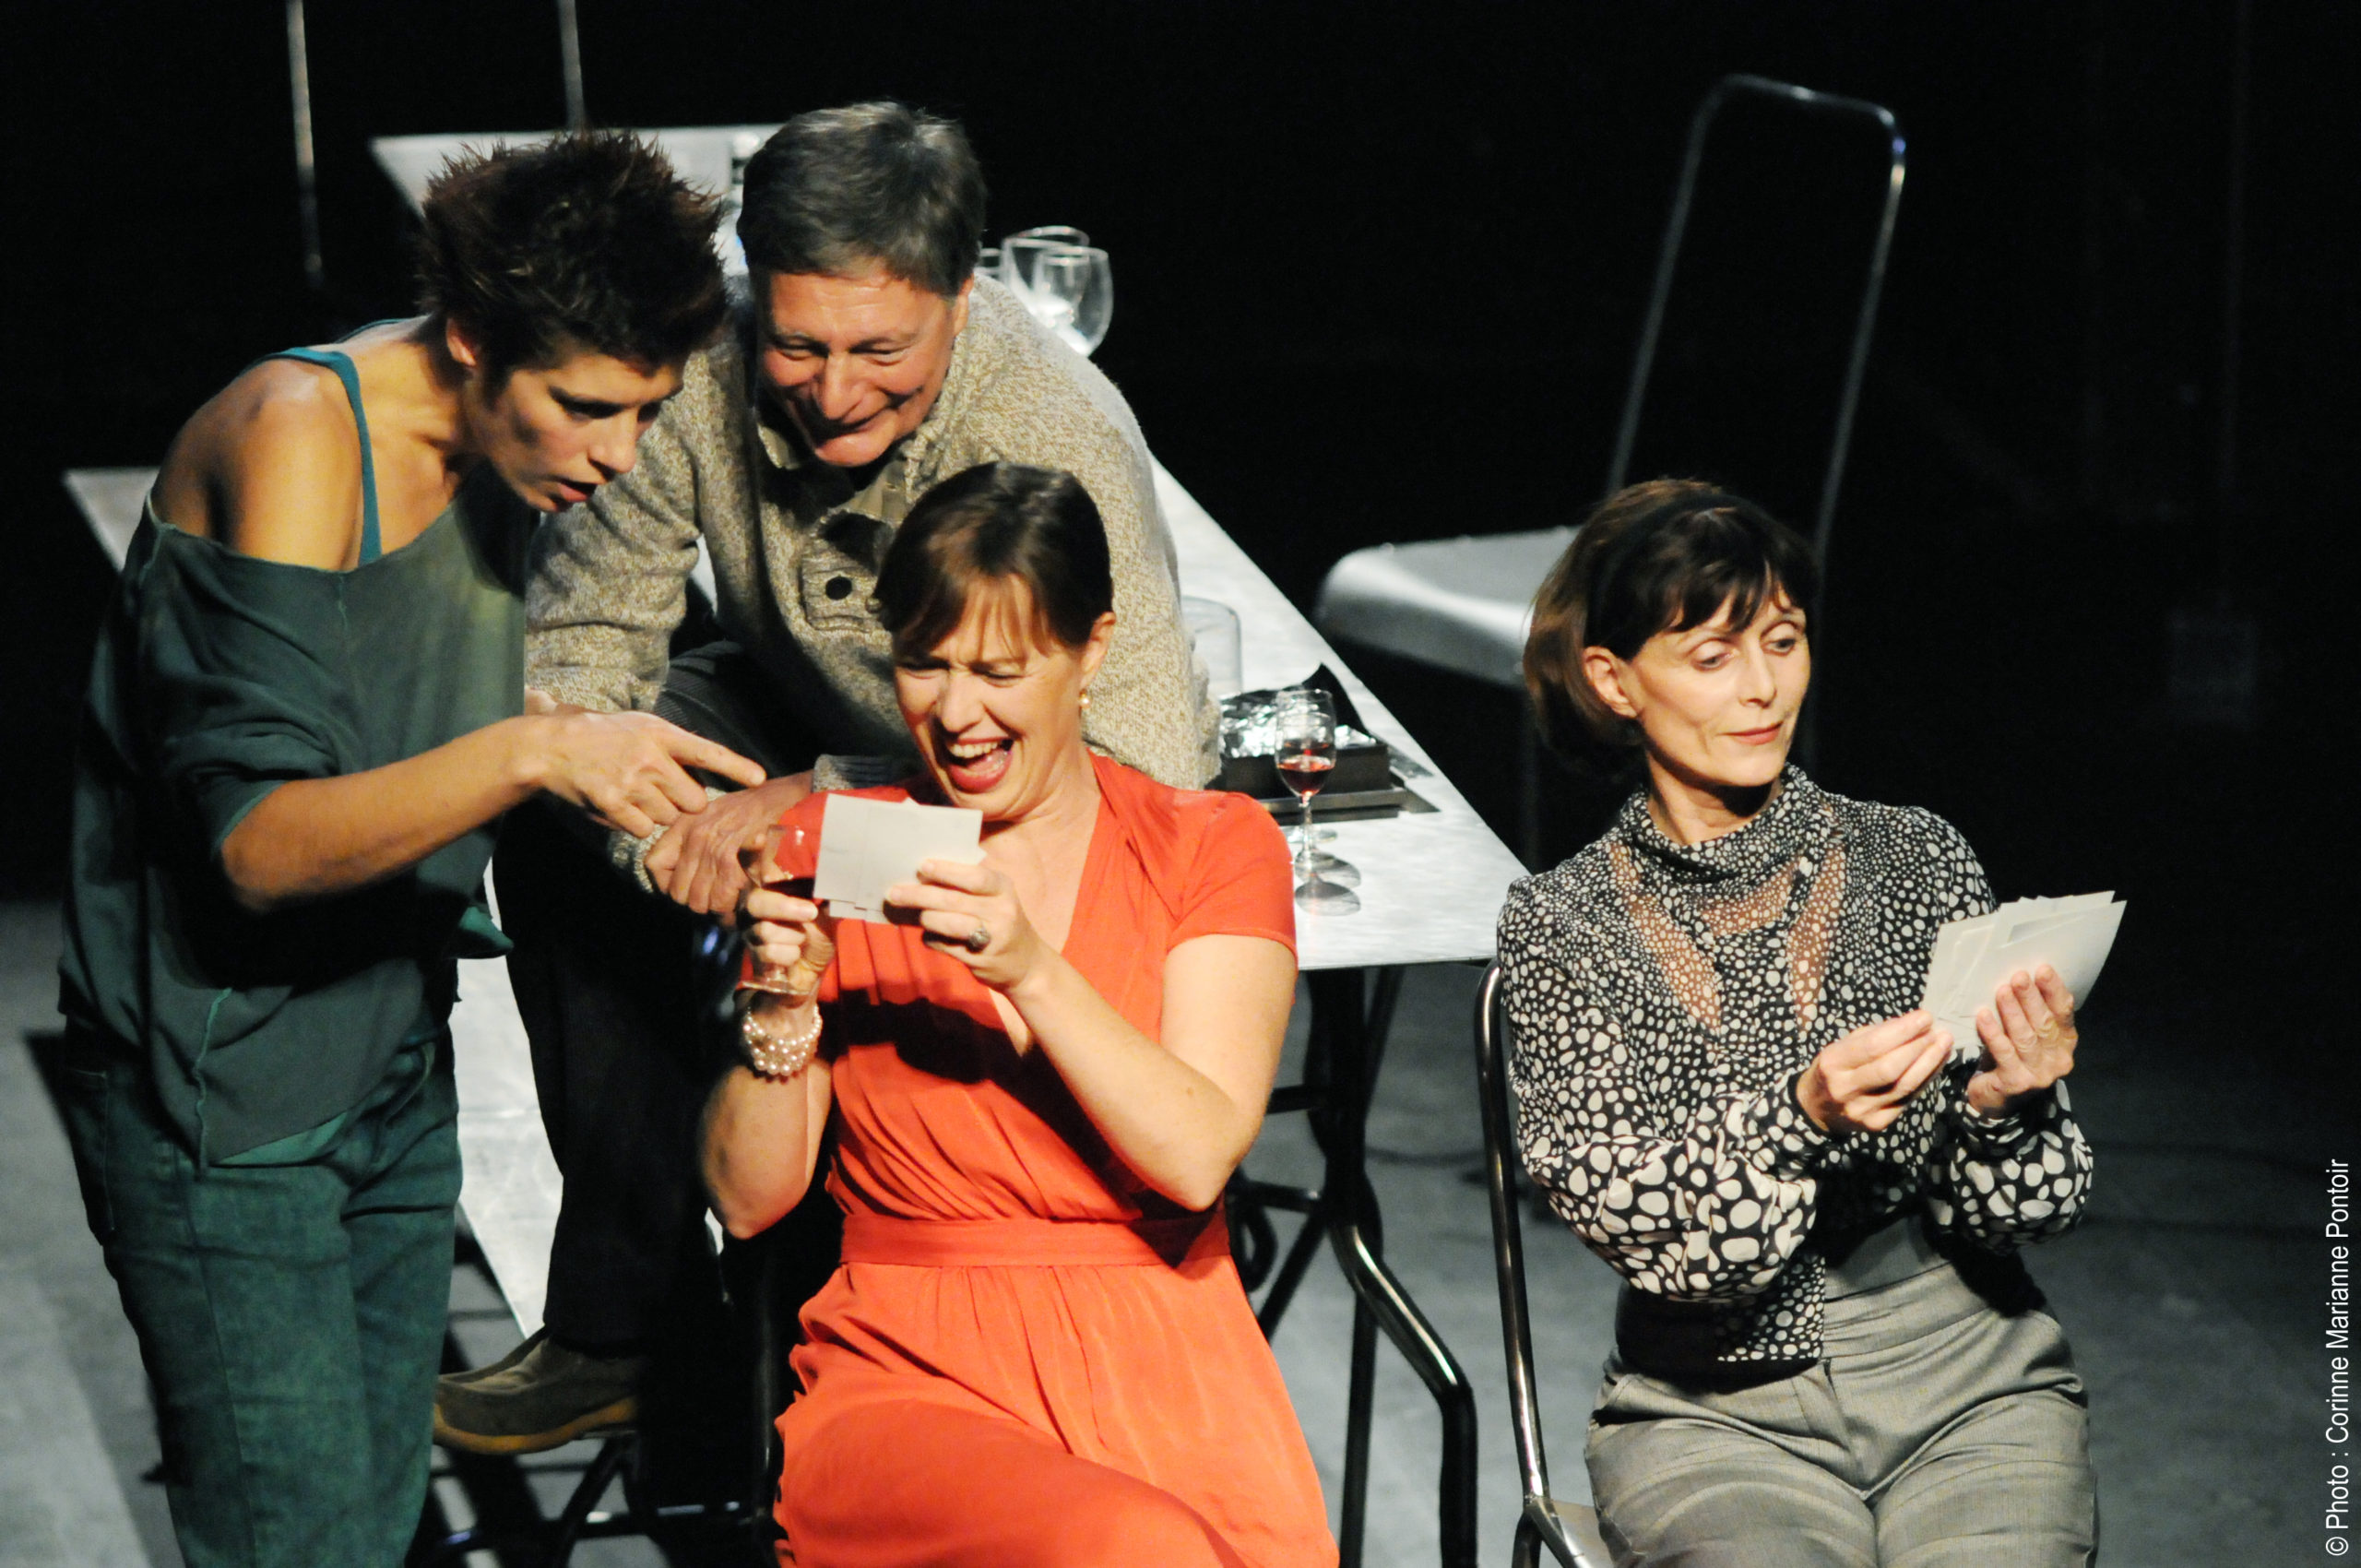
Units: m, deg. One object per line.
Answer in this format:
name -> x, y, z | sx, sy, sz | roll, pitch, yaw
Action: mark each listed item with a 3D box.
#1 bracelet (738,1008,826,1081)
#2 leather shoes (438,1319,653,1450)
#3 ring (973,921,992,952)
bracelet -> -0.501, 0.319, 2.664 | 0.077, 0.069, 0.095 | 3, 2, -6
leather shoes -> -1.041, 0.988, 3.577 | 0.370, 0.168, 0.148 | -1, 9, -19
ring -> -0.229, 0.174, 2.462 | 0.017, 0.024, 0.021 | 0, -31, 5
